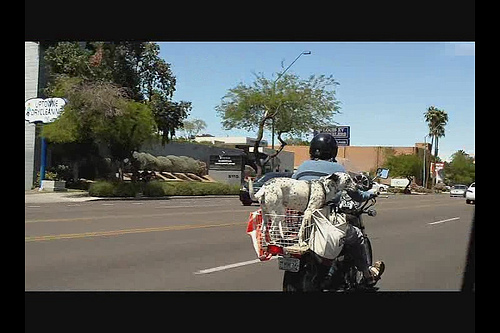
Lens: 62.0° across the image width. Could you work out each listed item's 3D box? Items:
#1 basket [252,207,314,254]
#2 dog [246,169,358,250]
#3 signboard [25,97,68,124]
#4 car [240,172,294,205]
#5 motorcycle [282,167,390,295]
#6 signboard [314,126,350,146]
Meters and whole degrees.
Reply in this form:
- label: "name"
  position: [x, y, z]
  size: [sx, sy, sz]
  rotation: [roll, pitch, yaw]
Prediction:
- label: "basket"
  position: [0.391, 0.765, 4.978]
  size: [0.637, 0.440, 0.454]
  rotation: [0, -3, 15]
- label: "dog"
  position: [0.670, 0.510, 5.140]
  size: [1.278, 0.912, 0.399]
  rotation: [1, 0, 0]
- label: "signboard"
  position: [-9.580, -2.620, 19.402]
  size: [1.681, 1.241, 0.935]
  rotation: [1, 1, -9]
- label: "car"
  position: [0.613, 0.815, 14.877]
  size: [1.721, 0.862, 0.965]
  rotation: [2, -3, -15]
- label: "motorcycle"
  position: [1.144, 1.000, 5.528]
  size: [1.812, 1.234, 0.891]
  rotation: [-10, 10, -43]
- label: "signboard"
  position: [1.225, -0.433, 6.020]
  size: [0.460, 0.291, 0.046]
  rotation: [1, -7, -25]
